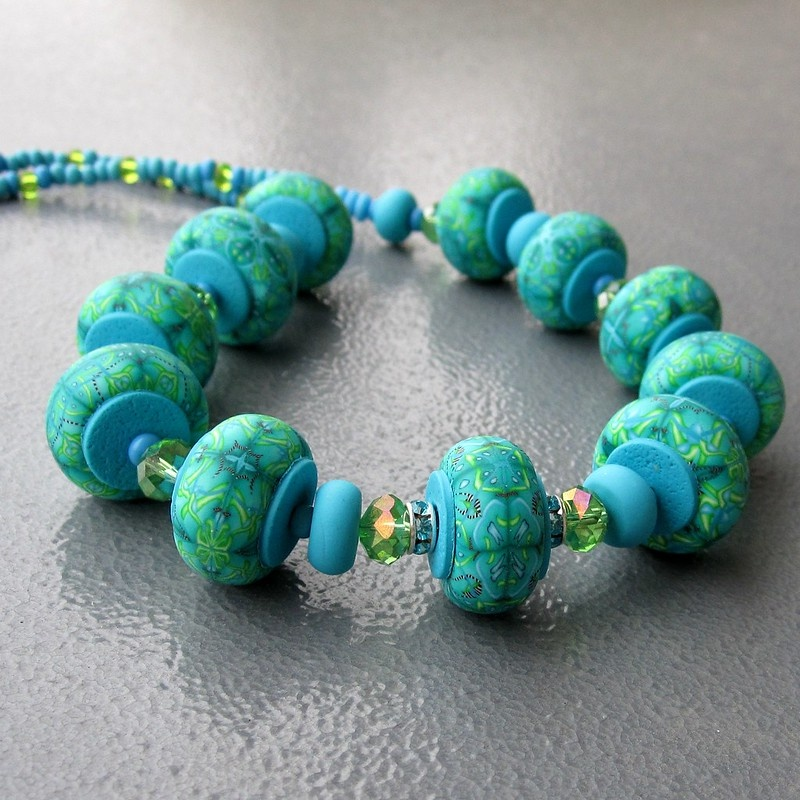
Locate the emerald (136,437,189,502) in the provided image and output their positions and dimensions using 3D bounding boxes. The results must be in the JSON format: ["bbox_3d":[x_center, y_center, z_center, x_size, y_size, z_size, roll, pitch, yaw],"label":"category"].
[{"bbox_3d":[-0.313,0.104,1.360,0.042,0.076,0.077,24,34,-29],"label":"emerald"}]

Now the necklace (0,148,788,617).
[{"bbox_3d":[-0.028,-0.034,1.414,1.043,0.151,0.652,18,41,33],"label":"necklace"}]

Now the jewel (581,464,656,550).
[{"bbox_3d":[0.291,0.134,1.292,0.073,0.096,0.101,-5,73,-39],"label":"jewel"}]

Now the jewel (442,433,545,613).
[{"bbox_3d":[0.111,0.154,1.252,0.118,0.219,0.184,-2,11,-14],"label":"jewel"}]

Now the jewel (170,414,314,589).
[{"bbox_3d":[-0.195,0.108,1.250,0.179,0.096,0.181,26,52,22],"label":"jewel"}]

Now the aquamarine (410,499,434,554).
[{"bbox_3d":[0.025,0.156,1.235,0.028,0.052,0.053,1,45,-6],"label":"aquamarine"}]

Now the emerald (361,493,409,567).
[{"bbox_3d":[-0.017,0.160,1.237,0.069,0.067,0.059,16,45,8],"label":"emerald"}]

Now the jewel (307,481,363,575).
[{"bbox_3d":[-0.084,0.174,1.248,0.062,0.141,0.084,6,44,-1],"label":"jewel"}]
